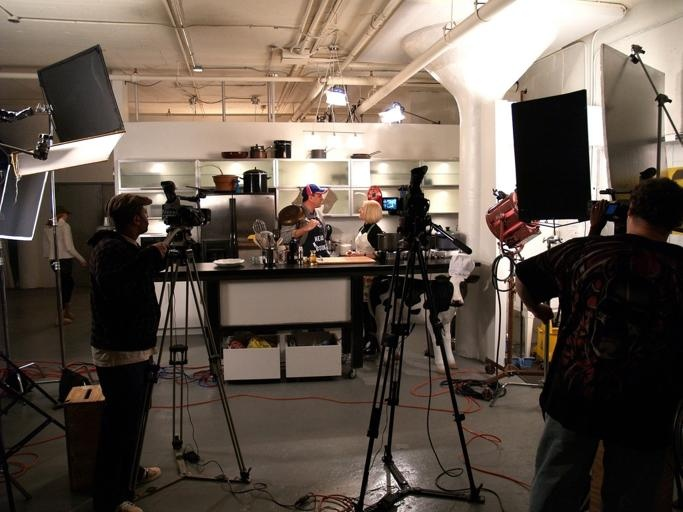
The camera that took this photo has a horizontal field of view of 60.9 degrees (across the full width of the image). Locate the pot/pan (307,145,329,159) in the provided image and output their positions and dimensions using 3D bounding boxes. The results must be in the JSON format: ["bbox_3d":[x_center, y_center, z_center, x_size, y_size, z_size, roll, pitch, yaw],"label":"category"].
[{"bbox_3d":[-0.332,-1.551,8.685,0.237,0.120,0.194,0,5,-7],"label":"pot/pan"}]

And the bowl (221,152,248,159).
[{"bbox_3d":[-1.544,-1.480,8.503,0.391,0.119,0.216,-2,4,-12],"label":"bowl"}]

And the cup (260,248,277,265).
[{"bbox_3d":[-0.696,0.015,5.705,0.154,0.167,0.151,1,15,0],"label":"cup"}]

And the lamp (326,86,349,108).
[{"bbox_3d":[-0.064,-2.017,7.287,0.238,0.263,0.496,-1,4,6],"label":"lamp"}]

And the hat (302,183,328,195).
[{"bbox_3d":[-0.246,-0.694,6.067,0.288,0.117,0.184,-6,13,-29],"label":"hat"}]

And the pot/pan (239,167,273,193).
[{"bbox_3d":[-1.216,-1.007,8.094,0.404,0.371,0.308,0,3,0],"label":"pot/pan"}]

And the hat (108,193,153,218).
[{"bbox_3d":[-1.331,-0.340,3.687,0.172,0.059,0.196,0,19,30],"label":"hat"}]

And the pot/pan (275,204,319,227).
[{"bbox_3d":[-0.448,-0.408,6.024,0.400,0.214,0.205,-2,4,-6],"label":"pot/pan"}]

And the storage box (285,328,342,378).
[{"bbox_3d":[-0.256,0.936,5.509,0.436,0.282,0.437,-1,7,-7],"label":"storage box"}]

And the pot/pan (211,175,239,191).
[{"bbox_3d":[-1.588,-0.987,8.095,0.240,0.158,0.247,1,3,-2],"label":"pot/pan"}]

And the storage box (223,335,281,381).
[{"bbox_3d":[-0.834,0.970,5.471,0.437,0.275,0.448,0,4,-3],"label":"storage box"}]

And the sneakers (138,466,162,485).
[{"bbox_3d":[-1.294,1.499,3.941,0.061,0.065,0.155,16,16,29],"label":"sneakers"}]

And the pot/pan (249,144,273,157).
[{"bbox_3d":[-1.165,-1.548,8.639,0.311,0.205,0.195,-3,6,-41],"label":"pot/pan"}]

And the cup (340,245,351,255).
[{"bbox_3d":[0.055,-0.076,7.887,0.133,0.136,0.137,-1,7,0],"label":"cup"}]
